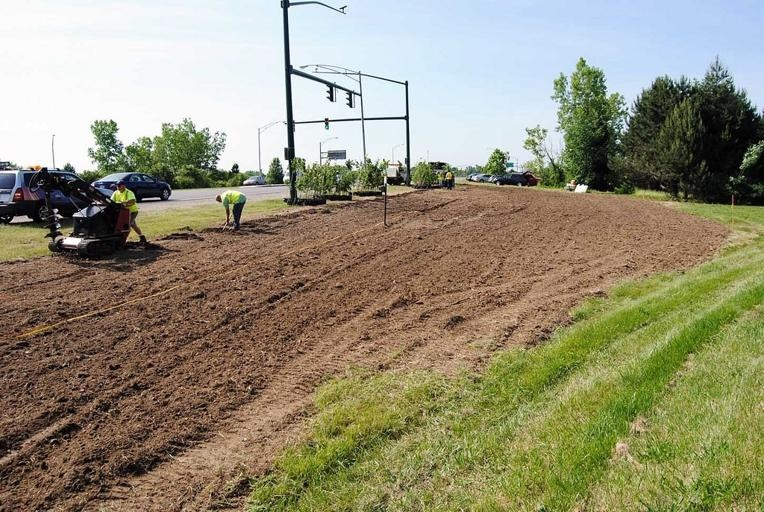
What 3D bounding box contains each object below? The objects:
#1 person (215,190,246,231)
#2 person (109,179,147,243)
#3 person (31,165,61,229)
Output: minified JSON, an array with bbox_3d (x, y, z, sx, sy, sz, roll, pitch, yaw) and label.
[{"bbox_3d":[-4.798,-1.523,20.644,0.679,1.197,2.217,-2,10,-12],"label":"person"},{"bbox_3d":[-7.400,-1.347,18.643,0.860,1.731,2.896,-4,10,-21],"label":"person"},{"bbox_3d":[-8.919,-1.622,16.884,0.624,1.759,0.703,-5,-25,-22],"label":"person"}]
